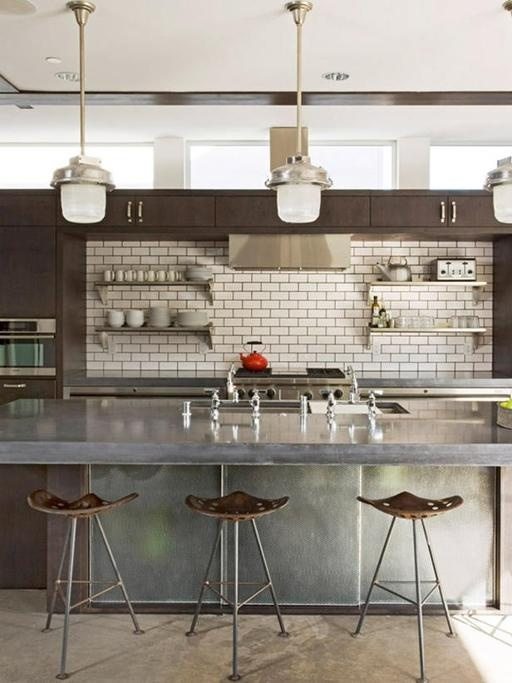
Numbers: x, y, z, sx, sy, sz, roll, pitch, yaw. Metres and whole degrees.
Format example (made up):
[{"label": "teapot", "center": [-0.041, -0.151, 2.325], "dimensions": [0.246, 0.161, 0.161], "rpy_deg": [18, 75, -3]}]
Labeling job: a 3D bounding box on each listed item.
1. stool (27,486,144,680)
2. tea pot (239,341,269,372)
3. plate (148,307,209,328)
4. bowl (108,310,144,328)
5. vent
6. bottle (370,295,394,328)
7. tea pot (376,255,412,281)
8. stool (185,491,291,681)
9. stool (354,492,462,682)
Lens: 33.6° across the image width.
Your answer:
[{"label": "stool", "center": [-0.757, 1.035, 3.845], "dimensions": [0.489, 0.761, 0.769], "rpy_deg": [0, 1, -8]}, {"label": "tea pot", "center": [-0.006, 0.108, 6.132], "dimensions": [0.219, 0.235, 0.220], "rpy_deg": [0, -5, 0]}, {"label": "plate", "center": [-0.593, -0.181, 6.375], "dimensions": [0.346, 0.136, 0.213], "rpy_deg": [0, -1, 4]}, {"label": "bowl", "center": [-0.982, -0.182, 6.407], "dimensions": [0.280, 0.150, 0.384], "rpy_deg": [0, 1, -10]}, {"label": "vent", "center": [0.234, -0.651, 5.966], "dimensions": [0.842, 0.245, 0.095], "rpy_deg": [1, 1, 0]}, {"label": "bottle", "center": [0.954, -0.242, 6.431], "dimensions": [0.096, 0.319, 0.216], "rpy_deg": [1, -5, -6]}, {"label": "tea pot", "center": [1.039, -0.556, 6.357], "dimensions": [0.268, 0.200, 0.293], "rpy_deg": [1, 1, 0]}, {"label": "stool", "center": [-0.085, 1.038, 3.813], "dimensions": [0.471, 0.746, 0.670], "rpy_deg": [1, 1, 1]}, {"label": "stool", "center": [0.674, 1.043, 3.839], "dimensions": [0.483, 0.749, 0.707], "rpy_deg": [1, 1, 13]}]
